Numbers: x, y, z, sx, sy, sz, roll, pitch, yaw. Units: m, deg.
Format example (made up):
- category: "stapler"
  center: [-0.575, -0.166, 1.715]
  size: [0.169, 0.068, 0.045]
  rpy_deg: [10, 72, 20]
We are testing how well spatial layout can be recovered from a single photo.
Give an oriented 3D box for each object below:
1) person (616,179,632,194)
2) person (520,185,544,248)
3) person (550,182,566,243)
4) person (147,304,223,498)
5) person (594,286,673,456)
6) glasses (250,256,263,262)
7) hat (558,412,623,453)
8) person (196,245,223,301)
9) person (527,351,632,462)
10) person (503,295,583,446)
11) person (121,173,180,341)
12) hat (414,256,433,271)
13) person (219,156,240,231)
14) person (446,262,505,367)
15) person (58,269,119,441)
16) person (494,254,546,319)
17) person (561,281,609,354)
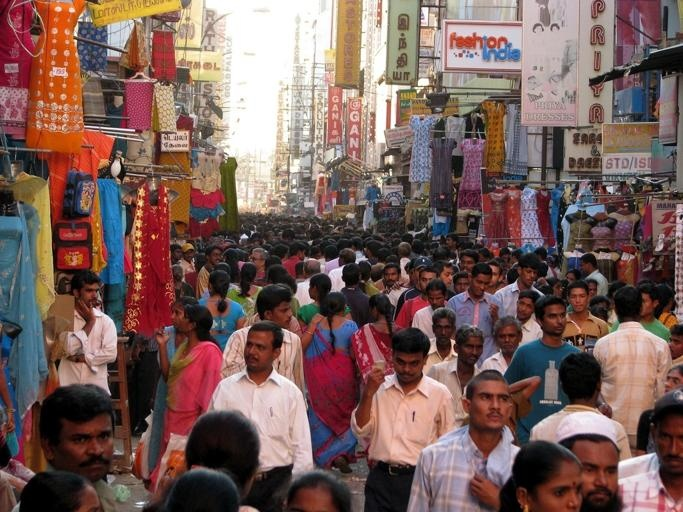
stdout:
- category: "person"
  center: [4.741, -1.159, 13.718]
  size: [0.195, 0.274, 1.138]
  rpy_deg: [3, 2, 20]
- category: "person"
  center: [3.736, -0.753, 16.060]
  size: [0.487, 1.160, 0.582]
  rpy_deg: [3, 2, 9]
- category: "person"
  center: [4.163, -0.827, 15.961]
  size: [0.251, 1.149, 1.097]
  rpy_deg: [3, 2, 14]
- category: "person"
  center: [-1.272, 1.178, 6.528]
  size: [0.552, 1.651, 0.423]
  rpy_deg: [13, 17, 11]
- category: "person"
  center: [2.264, 0.801, 6.331]
  size: [0.445, 1.371, 0.404]
  rpy_deg: [6, 42, 29]
- category: "glasses"
  center: [-1.079, 0.032, 10.287]
  size: [0.101, 0.073, 0.246]
  rpy_deg: [1, 3, -36]
- category: "hat"
  center: [1.285, 0.884, 4.262]
  size: [0.208, 0.140, 0.225]
  rpy_deg: [-3, 4, -17]
- category: "person"
  center: [-1.635, 0.291, 9.994]
  size: [0.221, 0.844, 0.329]
  rpy_deg: [10, 18, 10]
- category: "person"
  center: [1.435, 0.917, 5.044]
  size: [0.604, 0.783, 0.386]
  rpy_deg: [2, 19, 13]
- category: "person"
  center: [1.493, 1.098, 6.011]
  size: [0.627, 1.568, 0.417]
  rpy_deg: [4, 5, 16]
- category: "person"
  center: [-2.159, 0.041, 9.409]
  size: [0.629, 1.803, 0.232]
  rpy_deg: [-4, 25, -27]
- category: "hat"
  center: [0.965, 0.082, 9.739]
  size: [0.138, 0.129, 0.215]
  rpy_deg: [2, 0, 2]
- category: "person"
  center: [-2.428, -1.501, 17.782]
  size: [0.365, 1.493, 0.168]
  rpy_deg: [-16, 48, -18]
- category: "person"
  center: [1.293, 0.773, 7.968]
  size: [0.464, 1.496, 0.434]
  rpy_deg: [-9, 20, -18]
- category: "person"
  center: [-2.236, 0.968, 7.119]
  size: [0.417, 1.561, 0.466]
  rpy_deg: [2, 1, 43]
- category: "person"
  center: [1.803, 0.322, 8.310]
  size: [0.503, 0.779, 0.256]
  rpy_deg: [-2, 10, -22]
- category: "person"
  center: [2.082, 0.625, 7.170]
  size: [0.415, 0.818, 0.225]
  rpy_deg: [-3, -8, 22]
